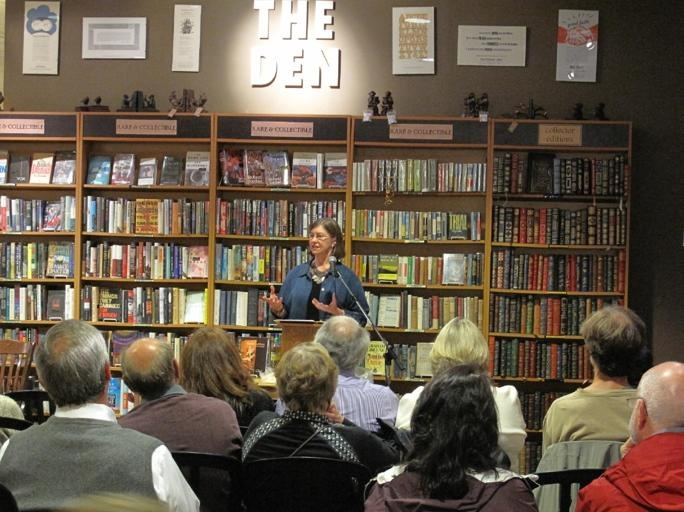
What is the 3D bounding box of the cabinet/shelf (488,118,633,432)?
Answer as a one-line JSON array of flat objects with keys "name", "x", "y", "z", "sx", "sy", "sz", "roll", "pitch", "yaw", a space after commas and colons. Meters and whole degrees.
[{"name": "cabinet/shelf", "x": 1.886, "y": 0.181, "z": 7.737, "sx": 1.237, "sy": 2.630, "sz": 0.618, "roll": 4, "pitch": 15, "yaw": 27}]
